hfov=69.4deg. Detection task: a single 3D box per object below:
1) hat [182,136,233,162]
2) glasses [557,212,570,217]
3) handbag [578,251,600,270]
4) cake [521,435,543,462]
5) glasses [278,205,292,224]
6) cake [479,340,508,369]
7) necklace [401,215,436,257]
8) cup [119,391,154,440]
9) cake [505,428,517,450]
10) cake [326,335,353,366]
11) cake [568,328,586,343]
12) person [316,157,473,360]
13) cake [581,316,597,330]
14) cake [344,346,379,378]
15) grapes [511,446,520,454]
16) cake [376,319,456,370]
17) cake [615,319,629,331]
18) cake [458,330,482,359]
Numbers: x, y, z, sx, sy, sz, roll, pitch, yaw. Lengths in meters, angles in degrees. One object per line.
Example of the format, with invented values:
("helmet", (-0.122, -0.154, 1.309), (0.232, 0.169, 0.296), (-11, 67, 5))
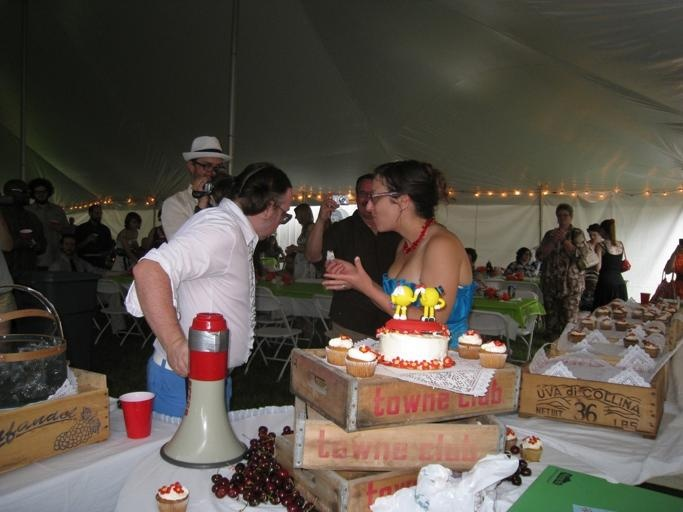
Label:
("hat", (-1.183, -0.952, 4.397), (0.392, 0.189, 0.453), (-5, 4, -44))
("glasses", (3.353, -0.622, 7.430), (0.177, 0.072, 0.112), (5, 7, 6))
("handbag", (3.988, 0.053, 7.969), (0.200, 0.289, 0.101), (19, -6, -6))
("cake", (0.775, 0.787, 2.016), (0.087, 0.091, 0.092), (0, -8, 3))
("glasses", (-0.296, -0.219, 2.626), (0.066, 0.075, 0.021), (-15, -28, 34))
("cake", (0.581, 0.374, 1.901), (0.099, 0.098, 0.103), (0, -5, -1))
("necklace", (0.393, -0.096, 2.572), (0.042, 0.180, 0.133), (40, 16, 26))
("cup", (-0.876, 0.684, 2.219), (0.179, 0.195, 0.185), (1, 3, 0))
("cake", (0.713, 0.752, 2.071), (0.040, 0.094, 0.101), (6, 7, 24))
("cake", (-0.006, 0.348, 1.842), (0.095, 0.101, 0.100), (2, -5, -1))
("cake", (1.529, 0.516, 3.217), (0.081, 0.053, 0.080), (-3, 0, -35))
("person", (0.349, -0.130, 2.999), (0.871, 1.571, 0.815), (0, 10, 10))
("cake", (1.824, 0.487, 3.639), (0.081, 0.089, 0.082), (5, 13, 35))
("cake", (0.068, 0.368, 1.722), (0.096, 0.090, 0.100), (1, -5, -2))
("grapes", (0.720, 0.798, 2.049), (0.031, 0.034, 0.033), (2, -10, 25))
("cake", (0.290, 0.333, 1.892), (0.290, 0.155, 0.173), (4, 7, -1))
("cake", (2.056, 0.502, 3.624), (0.073, 0.057, 0.077), (1, 1, 29))
("cake", (0.517, 0.356, 1.995), (0.094, 0.100, 0.100), (2, -4, 5))
